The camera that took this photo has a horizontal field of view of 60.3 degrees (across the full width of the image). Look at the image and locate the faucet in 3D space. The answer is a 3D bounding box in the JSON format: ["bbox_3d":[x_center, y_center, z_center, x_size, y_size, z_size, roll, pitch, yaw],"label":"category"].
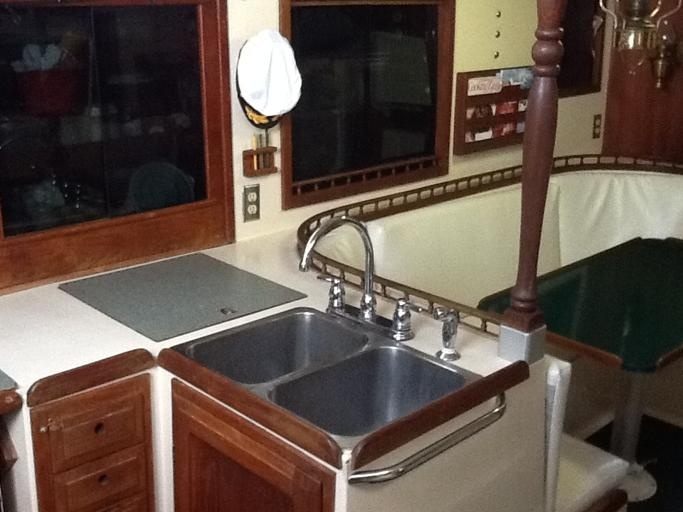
[{"bbox_3d":[0.005,0.049,1.697,0.161,0.325,0.314,2,16,14],"label":"faucet"}]
